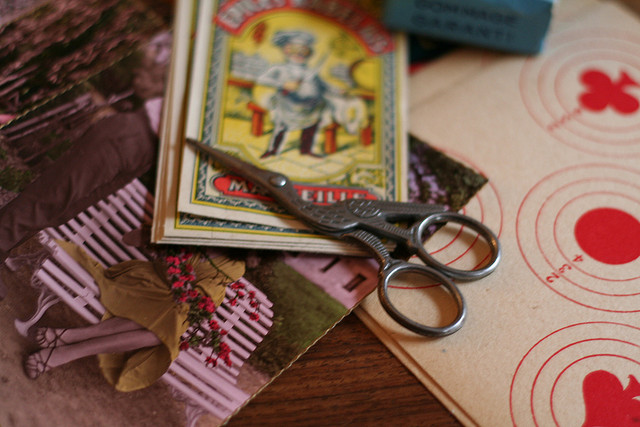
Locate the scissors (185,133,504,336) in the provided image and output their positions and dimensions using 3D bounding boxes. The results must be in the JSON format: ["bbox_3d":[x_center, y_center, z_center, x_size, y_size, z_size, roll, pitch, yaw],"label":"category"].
[{"bbox_3d":[0.041,0.011,0.879,0.356,0.205,0.028,33,-36,13],"label":"scissors"}]
